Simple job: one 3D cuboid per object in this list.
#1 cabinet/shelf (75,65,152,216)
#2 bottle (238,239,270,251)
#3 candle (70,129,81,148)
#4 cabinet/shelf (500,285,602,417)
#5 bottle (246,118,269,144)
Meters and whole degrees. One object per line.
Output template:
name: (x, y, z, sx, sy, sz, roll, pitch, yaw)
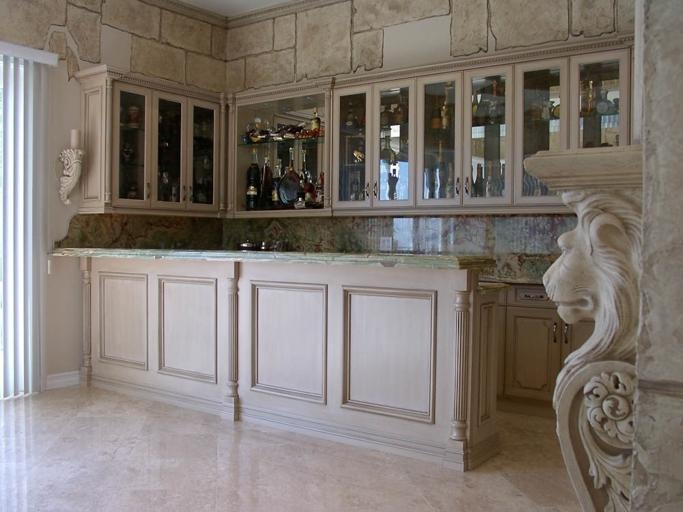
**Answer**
cabinet/shelf: (-1.909, -0.948, 4.753, 0.526, 1.145, 0.311, -4, 6, -10)
bottle: (-0.824, -0.100, 5.655, 0.214, 0.104, 0.138, 3, -4, -38)
candle: (-2.149, -0.945, 4.721, 0.087, 0.156, 0.182, -6, 7, -23)
cabinet/shelf: (1.574, 0.604, 4.181, 0.873, 0.889, 0.459, 3, 13, 23)
bottle: (-0.808, -1.219, 5.677, 0.280, 0.291, 0.188, 1, 3, 16)
